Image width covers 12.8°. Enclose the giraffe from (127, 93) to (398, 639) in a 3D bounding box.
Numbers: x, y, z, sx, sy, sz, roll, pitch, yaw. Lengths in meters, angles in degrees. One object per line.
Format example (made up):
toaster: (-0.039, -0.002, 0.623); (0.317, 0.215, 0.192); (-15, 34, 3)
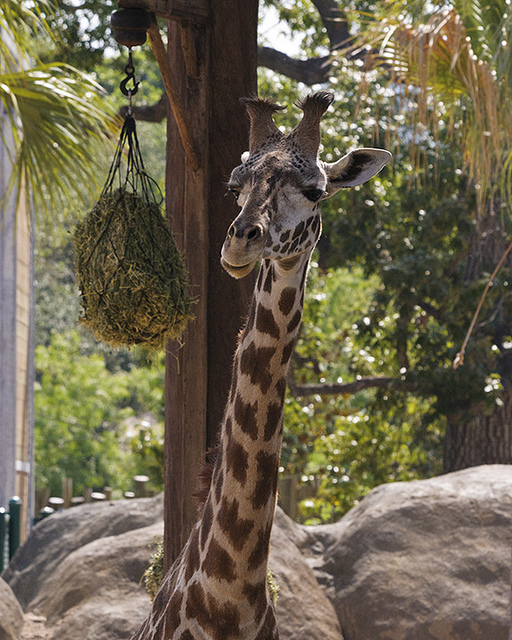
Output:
giraffe: (-0.067, 0.352, 17.100); (1.054, 4.209, 0.787); (3, 3, 5)
